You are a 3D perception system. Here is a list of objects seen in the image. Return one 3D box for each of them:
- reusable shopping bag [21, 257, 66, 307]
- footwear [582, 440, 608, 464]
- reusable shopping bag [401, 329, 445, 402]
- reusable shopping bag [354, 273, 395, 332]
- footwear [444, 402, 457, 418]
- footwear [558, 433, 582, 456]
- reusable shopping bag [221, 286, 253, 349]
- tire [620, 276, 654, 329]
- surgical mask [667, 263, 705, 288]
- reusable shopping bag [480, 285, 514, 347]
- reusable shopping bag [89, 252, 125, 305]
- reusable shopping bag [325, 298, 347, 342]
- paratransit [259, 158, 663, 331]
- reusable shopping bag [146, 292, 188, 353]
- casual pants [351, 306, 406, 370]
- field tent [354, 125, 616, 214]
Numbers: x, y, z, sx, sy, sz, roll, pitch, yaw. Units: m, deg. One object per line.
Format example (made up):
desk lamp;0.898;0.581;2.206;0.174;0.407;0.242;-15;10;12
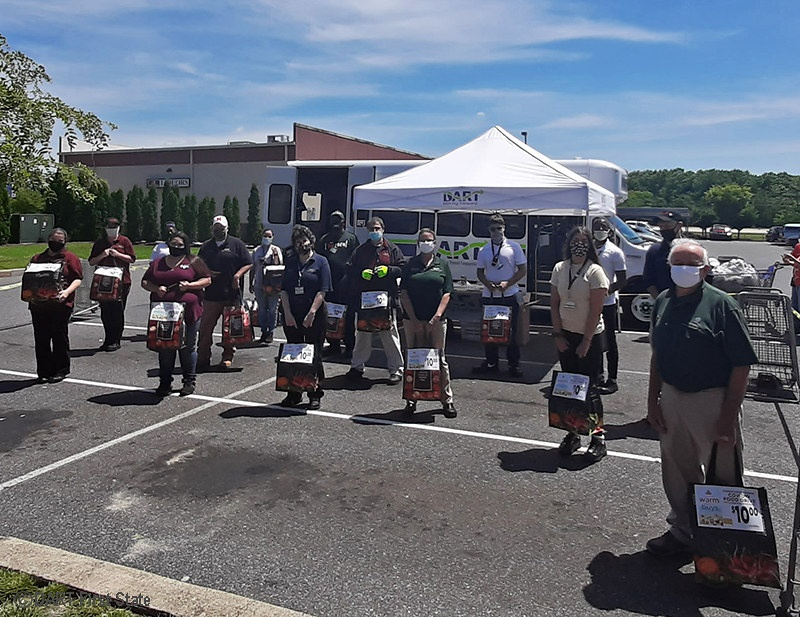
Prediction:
reusable shopping bag;-4.622;-0.342;7.895;0.636;0.712;0.257;0;-9;-7
footwear;1.973;1.443;6.043;0.117;0.134;0.314;-3;-11;33
reusable shopping bag;0.306;0.754;7.303;0.486;0.618;0.388;4;11;14
reusable shopping bag;-0.336;-0.091;8.426;0.821;0.924;0.147;-1;-8;7
footwear;0.605;1.231;7.223;0.107;0.127;0.197;2;8;13
footwear;1.745;1.373;6.187;0.320;0.218;0.140;-7;12;-40
reusable shopping bag;-2.469;0.234;9.276;0.408;0.765;0.508;8;12;38
tire;4.617;-0.140;11.761;0.293;1.083;1.072;3;-3;-41
surgical mask;1.952;-0.227;4.154;0.157;0.102;0.174;6;10;38
reusable shopping bag;1.421;0.116;8.960;0.775;1.014;0.594;0;-1;4
reusable shopping bag;-4.849;-0.396;10.023;0.456;0.579;0.563;-2;10;-17
reusable shopping bag;-0.957;0.184;9.069;0.379;0.509;0.166;8;13;11
paratransit;0.481;-1.620;14.182;9.885;4.416;3.650;2;10;12
reusable shopping bag;-2.953;0.237;7.660;0.452;0.612;0.362;-1;10;-15
casual pants;-0.328;0.441;8.831;1.112;0.476;1.324;1;-32;3
field tent;1.460;-2.229;10.166;3.689;1.124;1.752;7;11;29
